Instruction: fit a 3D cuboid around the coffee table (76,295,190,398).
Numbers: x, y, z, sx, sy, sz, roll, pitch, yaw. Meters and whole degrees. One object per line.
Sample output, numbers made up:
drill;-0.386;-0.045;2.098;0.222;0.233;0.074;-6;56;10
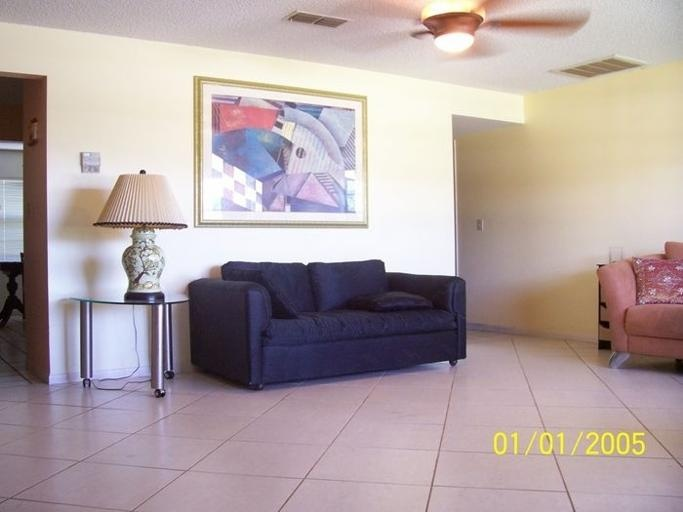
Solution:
coffee table;-1.543;0.634;4.134;0.850;0.595;0.783;-2;-3;37

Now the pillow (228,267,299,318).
pillow;-0.588;0.296;4.286;0.345;0.377;0.549;-2;2;-33

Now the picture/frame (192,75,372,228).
picture/frame;-0.624;-0.986;5.023;1.667;1.104;0.038;2;-4;-28

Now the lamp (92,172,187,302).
lamp;-1.480;-0.161;4.031;0.642;0.969;0.330;-2;3;-23
